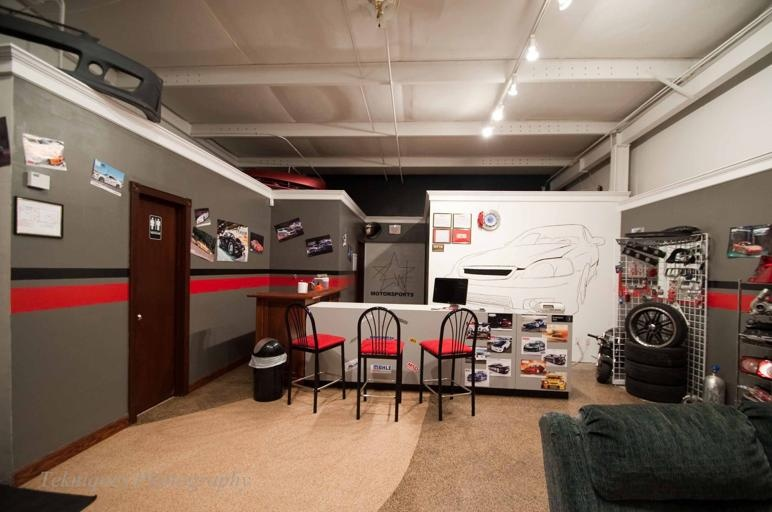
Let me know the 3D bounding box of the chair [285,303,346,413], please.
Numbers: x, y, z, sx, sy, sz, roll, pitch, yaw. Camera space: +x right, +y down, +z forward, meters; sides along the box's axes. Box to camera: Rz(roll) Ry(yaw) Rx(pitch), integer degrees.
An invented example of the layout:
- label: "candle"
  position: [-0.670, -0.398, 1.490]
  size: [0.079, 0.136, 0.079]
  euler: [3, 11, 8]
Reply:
- label: "chair"
  position: [-0.929, 1.311, 6.418]
  size: [0.826, 1.344, 0.934]
  euler: [2, -4, -4]

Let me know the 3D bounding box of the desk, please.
- label: "desk"
  position: [-1.485, 0.949, 7.380]
  size: [0.869, 1.123, 1.200]
  euler: [1, 17, 1]

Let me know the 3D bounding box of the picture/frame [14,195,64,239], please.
- label: "picture/frame"
  position: [-3.578, -0.398, 5.004]
  size: [0.045, 0.423, 0.450]
  euler: [-3, -4, 40]

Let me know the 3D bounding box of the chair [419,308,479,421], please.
- label: "chair"
  position: [0.800, 1.359, 6.293]
  size: [0.774, 1.371, 0.850]
  euler: [1, -4, 10]

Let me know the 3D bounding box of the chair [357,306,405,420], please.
- label: "chair"
  position: [-0.029, 1.341, 6.327]
  size: [0.682, 1.492, 0.620]
  euler: [3, 0, -5]
